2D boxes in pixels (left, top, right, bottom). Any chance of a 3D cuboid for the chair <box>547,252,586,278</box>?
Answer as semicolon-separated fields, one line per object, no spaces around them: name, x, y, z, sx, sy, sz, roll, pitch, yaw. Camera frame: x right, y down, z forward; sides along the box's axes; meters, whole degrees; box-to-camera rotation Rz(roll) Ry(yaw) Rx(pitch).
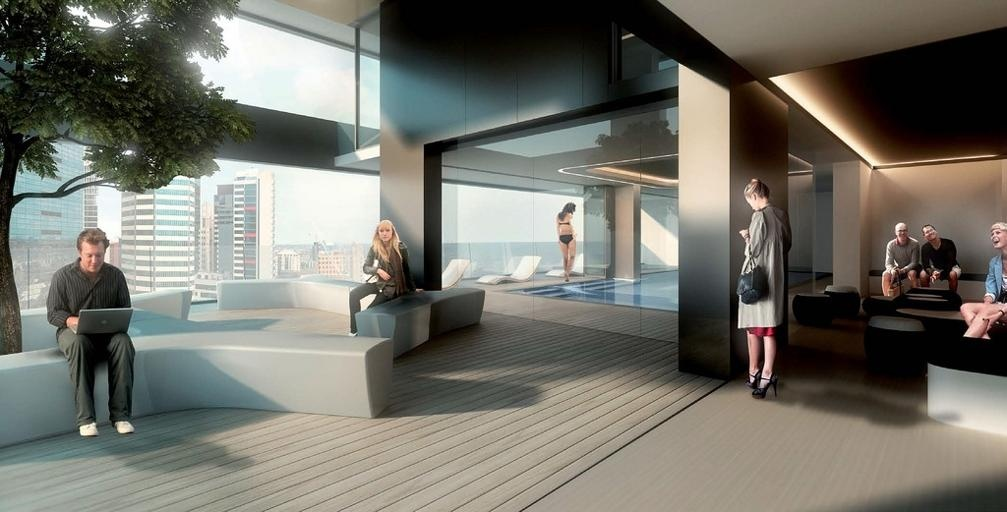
chair;1.391;0.255;11.714;0.744;0.361;0.421;-2;2;-43

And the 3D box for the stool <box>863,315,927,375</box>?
stool;7.233;1.618;9.529;1.027;0.839;0.989;-1;2;-40

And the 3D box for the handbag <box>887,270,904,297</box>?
handbag;9.343;0.643;12.509;0.635;0.608;0.165;-9;13;-42

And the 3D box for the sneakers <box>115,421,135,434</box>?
sneakers;-5.704;2.606;7.958;0.382;0.128;0.131;-2;-3;25

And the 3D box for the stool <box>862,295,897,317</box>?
stool;7.777;1.049;10.850;0.628;0.197;0.615;-2;2;30

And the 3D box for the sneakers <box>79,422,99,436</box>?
sneakers;-6.238;2.619;7.895;0.286;0.108;0.160;-2;-3;42

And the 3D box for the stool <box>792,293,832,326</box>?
stool;6.987;1.214;11.859;0.779;0.571;0.787;-6;-3;37

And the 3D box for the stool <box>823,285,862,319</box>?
stool;7.929;1.062;12.224;0.954;0.712;0.905;-2;0;19

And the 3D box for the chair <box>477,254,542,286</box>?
chair;0.256;0.332;12.432;1.240;0.423;0.764;-4;4;-32

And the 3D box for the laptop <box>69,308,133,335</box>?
laptop;-6.038;0.995;7.921;0.737;0.438;0.455;7;10;-13
